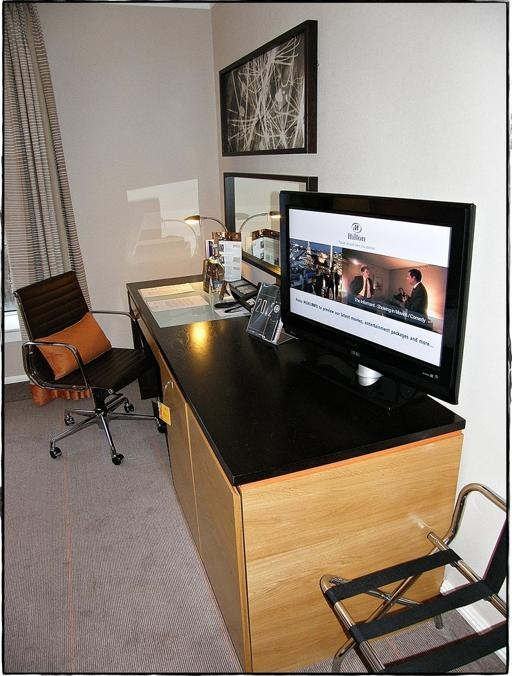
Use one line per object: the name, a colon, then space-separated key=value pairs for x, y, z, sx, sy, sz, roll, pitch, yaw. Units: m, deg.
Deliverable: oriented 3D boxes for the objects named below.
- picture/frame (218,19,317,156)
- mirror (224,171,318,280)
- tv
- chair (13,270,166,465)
picture/frame: x=0.031 y=-1.159 z=2.286 sx=0.031 sy=0.500 sz=0.840 roll=-12 pitch=23 yaw=-28
mirror: x=0.067 y=-0.655 z=2.725 sx=0.020 sy=0.536 sz=0.797 roll=-4 pitch=7 yaw=26
tv: x=0.328 y=-0.097 z=1.204 sx=0.109 sy=0.407 sz=0.498 roll=-8 pitch=27 yaw=-22
chair: x=-1.008 y=0.213 z=2.703 sx=0.581 sy=1.007 sz=0.667 roll=14 pitch=26 yaw=22
